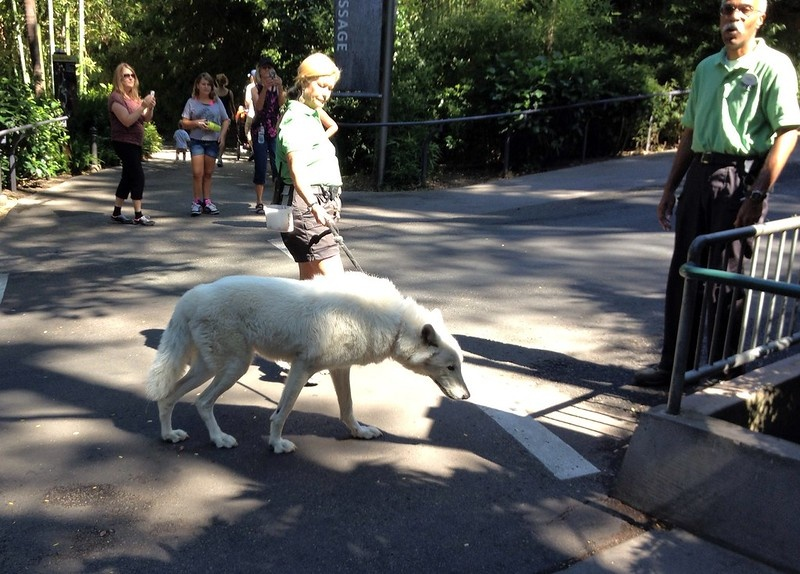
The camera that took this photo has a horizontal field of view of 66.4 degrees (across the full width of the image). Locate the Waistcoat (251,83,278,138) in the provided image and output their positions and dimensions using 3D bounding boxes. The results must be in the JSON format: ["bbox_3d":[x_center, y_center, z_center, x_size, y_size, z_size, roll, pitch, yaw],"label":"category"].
[{"bbox_3d":[-2.514,-3.282,11.472,0.527,0.895,0.326,-2,16,-10],"label":"Waistcoat"}]

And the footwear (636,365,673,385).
[{"bbox_3d":[2.325,0.806,5.601,0.337,0.157,0.138,0,15,-7],"label":"footwear"}]

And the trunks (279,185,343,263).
[{"bbox_3d":[-0.837,-0.555,5.885,0.558,0.913,0.727,-6,5,-17],"label":"trunks"}]

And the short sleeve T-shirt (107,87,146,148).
[{"bbox_3d":[-4.537,-2.907,10.309,0.733,0.794,0.428,2,18,-25],"label":"short sleeve T-shirt"}]

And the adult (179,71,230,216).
[{"bbox_3d":[-3.610,-2.692,11.388,0.883,2.584,0.902,0,13,-22],"label":"adult"}]

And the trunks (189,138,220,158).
[{"bbox_3d":[-3.572,-2.563,11.200,0.432,0.437,0.311,-8,17,-38],"label":"trunks"}]

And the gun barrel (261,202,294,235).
[{"bbox_3d":[-1.059,-0.601,5.401,0.238,0.235,0.096,-1,16,-4],"label":"gun barrel"}]

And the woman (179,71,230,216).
[{"bbox_3d":[-3.608,-2.685,11.419,0.882,2.563,0.886,-1,14,-25],"label":"woman"}]

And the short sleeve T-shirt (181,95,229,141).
[{"bbox_3d":[-3.605,-3.122,11.332,0.711,0.743,0.837,-1,17,-6],"label":"short sleeve T-shirt"}]
